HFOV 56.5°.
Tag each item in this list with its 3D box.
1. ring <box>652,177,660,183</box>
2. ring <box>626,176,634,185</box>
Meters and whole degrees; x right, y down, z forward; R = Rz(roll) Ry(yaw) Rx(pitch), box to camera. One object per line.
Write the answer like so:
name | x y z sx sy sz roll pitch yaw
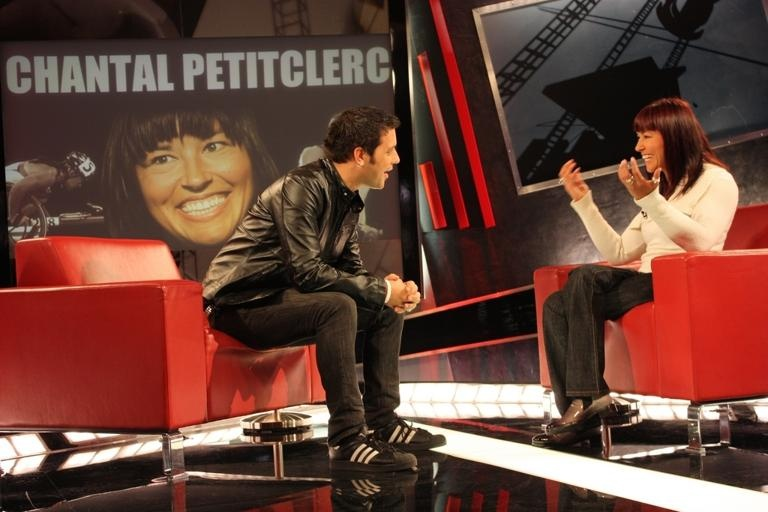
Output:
ring | 1.245 -0.334 3.229 0.040 0.019 0.051 0 4 10
ring | 1.130 -0.345 3.268 0.026 0.039 0.040 1 2 7
